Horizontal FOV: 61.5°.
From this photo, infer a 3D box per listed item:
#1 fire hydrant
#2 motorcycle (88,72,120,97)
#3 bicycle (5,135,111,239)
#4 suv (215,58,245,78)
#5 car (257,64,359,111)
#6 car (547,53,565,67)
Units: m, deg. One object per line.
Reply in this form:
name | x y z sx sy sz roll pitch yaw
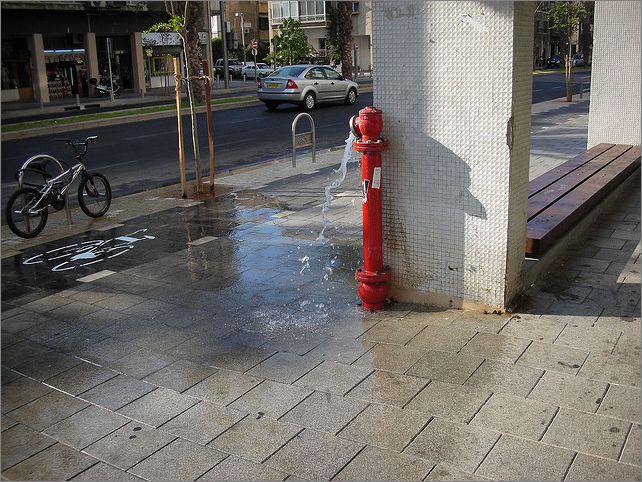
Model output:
fire hydrant | 0.490 -0.294 5.221 0.347 1.923 0.507 -2 20 7
motorcycle | -15.083 -10.773 37.472 1.579 1.340 3.698 -7 18 -9
bicycle | -4.269 -0.881 8.560 0.687 1.351 1.935 4 19 21
suv | -9.911 -18.503 58.244 2.930 2.005 6.533 -4 17 -2
car | -0.475 -7.440 26.185 2.229 1.526 4.890 15 25 41
car | 30.169 -22.982 69.252 1.806 1.334 2.920 9 17 36
